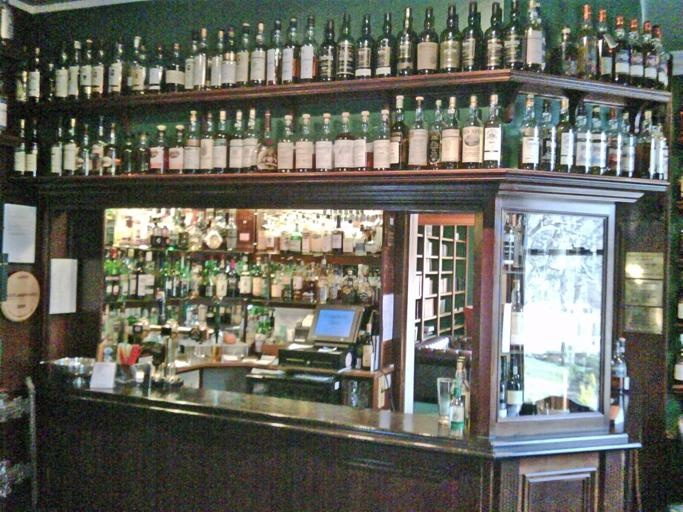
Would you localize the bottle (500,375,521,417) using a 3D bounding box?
[{"bbox_3d":[1.050,0.861,5.375,0.148,0.248,0.033,4,-6,-24],"label":"bottle"}]

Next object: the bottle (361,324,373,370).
[{"bbox_3d":[0.203,0.702,6.883,0.085,0.357,0.051,2,-5,1],"label":"bottle"}]

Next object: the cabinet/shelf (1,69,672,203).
[{"bbox_3d":[-0.495,-0.823,6.171,3.645,0.618,0.867,-3,9,11],"label":"cabinet/shelf"}]

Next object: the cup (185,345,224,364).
[{"bbox_3d":[-1.099,0.780,6.990,0.182,0.083,0.182,-1,-2,0],"label":"cup"}]

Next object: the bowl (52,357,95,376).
[{"bbox_3d":[-1.920,0.792,6.305,0.295,0.119,0.399,3,-5,-9],"label":"bowl"}]

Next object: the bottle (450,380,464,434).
[{"bbox_3d":[0.722,0.923,5.405,0.092,0.314,0.059,1,-5,9],"label":"bottle"}]
